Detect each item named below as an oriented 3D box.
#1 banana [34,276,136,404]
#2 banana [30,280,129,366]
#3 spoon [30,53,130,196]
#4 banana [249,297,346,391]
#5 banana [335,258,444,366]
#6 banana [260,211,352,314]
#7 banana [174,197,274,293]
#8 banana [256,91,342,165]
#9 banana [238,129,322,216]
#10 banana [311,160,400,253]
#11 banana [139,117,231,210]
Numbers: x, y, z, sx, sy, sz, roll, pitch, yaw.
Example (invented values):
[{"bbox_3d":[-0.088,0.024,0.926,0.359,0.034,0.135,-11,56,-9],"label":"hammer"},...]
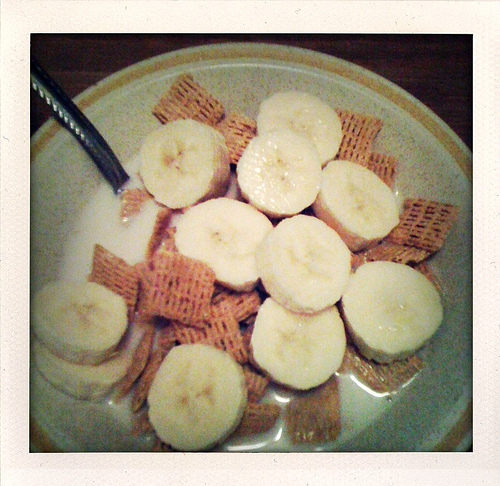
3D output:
[{"bbox_3d":[-0.312,0.186,1.245,0.214,0.054,0.227,29,93,14],"label":"banana"},{"bbox_3d":[-0.330,0.146,1.211,0.143,0.042,0.187,-35,80,10],"label":"banana"},{"bbox_3d":[-0.334,-0.229,1.238,0.032,0.043,0.306,-33,95,3],"label":"spoon"},{"bbox_3d":[0.104,0.175,1.202,0.162,0.040,0.183,26,85,-5],"label":"banana"},{"bbox_3d":[0.292,0.149,1.246,0.224,0.053,0.244,-16,88,43],"label":"banana"},{"bbox_3d":[0.107,0.040,1.202,0.183,0.042,0.179,43,81,10],"label":"banana"},{"bbox_3d":[-0.054,-0.007,1.224,0.181,0.046,0.162,16,77,5],"label":"banana"},{"bbox_3d":[0.100,-0.252,1.248,0.151,0.107,0.154,-16,118,-15],"label":"banana"},{"bbox_3d":[0.056,-0.139,1.222,0.148,0.034,0.166,-36,89,-4],"label":"banana"},{"bbox_3d":[0.214,-0.079,1.231,0.153,0.042,0.187,25,71,-7],"label":"banana"},{"bbox_3d":[-0.138,-0.156,1.277,0.152,0.040,0.190,2,87,4],"label":"banana"}]
